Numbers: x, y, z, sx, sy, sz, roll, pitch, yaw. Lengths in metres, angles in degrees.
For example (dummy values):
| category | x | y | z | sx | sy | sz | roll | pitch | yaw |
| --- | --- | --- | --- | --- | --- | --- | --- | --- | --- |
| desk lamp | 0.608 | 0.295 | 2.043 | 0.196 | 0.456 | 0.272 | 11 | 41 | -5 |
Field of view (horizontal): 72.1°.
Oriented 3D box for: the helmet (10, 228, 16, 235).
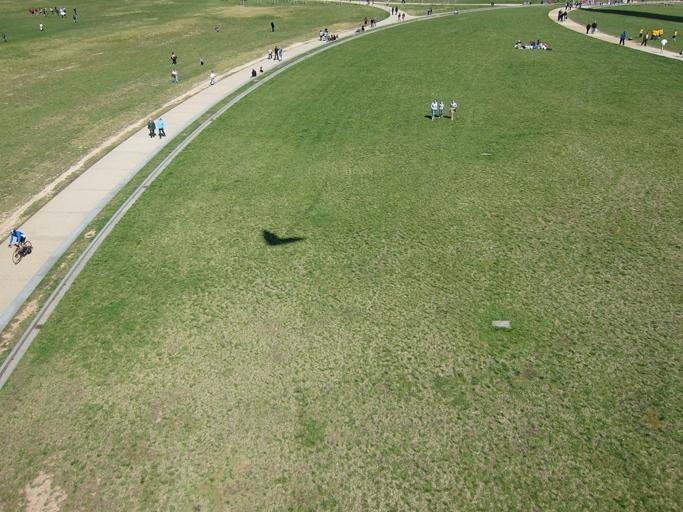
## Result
| category | x | y | z | sx | sy | sz | roll | pitch | yaw |
| --- | --- | --- | --- | --- | --- | --- | --- | --- | --- |
| helmet | -16.498 | -1.253 | 23.629 | 0.289 | 0.144 | 0.401 | 7 | 28 | -2 |

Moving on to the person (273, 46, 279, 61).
| category | x | y | z | sx | sy | sz | roll | pitch | yaw |
| --- | --- | --- | --- | --- | --- | --- | --- | --- | --- |
| person | -7.268 | -22.829 | 52.855 | 0.785 | 0.942 | 2.363 | -12 | 41 | -3 |

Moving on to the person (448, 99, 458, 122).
| category | x | y | z | sx | sy | sz | roll | pitch | yaw |
| --- | --- | --- | --- | --- | --- | --- | --- | --- | --- |
| person | 8.717 | -11.499 | 36.748 | 0.767 | 0.958 | 2.229 | -1 | 32 | 17 |

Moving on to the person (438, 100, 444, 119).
| category | x | y | z | sx | sy | sz | roll | pitch | yaw |
| --- | --- | --- | --- | --- | --- | --- | --- | --- | --- |
| person | 7.905 | -11.774 | 37.191 | 0.533 | 1.395 | 1.741 | 1 | 42 | 13 |
